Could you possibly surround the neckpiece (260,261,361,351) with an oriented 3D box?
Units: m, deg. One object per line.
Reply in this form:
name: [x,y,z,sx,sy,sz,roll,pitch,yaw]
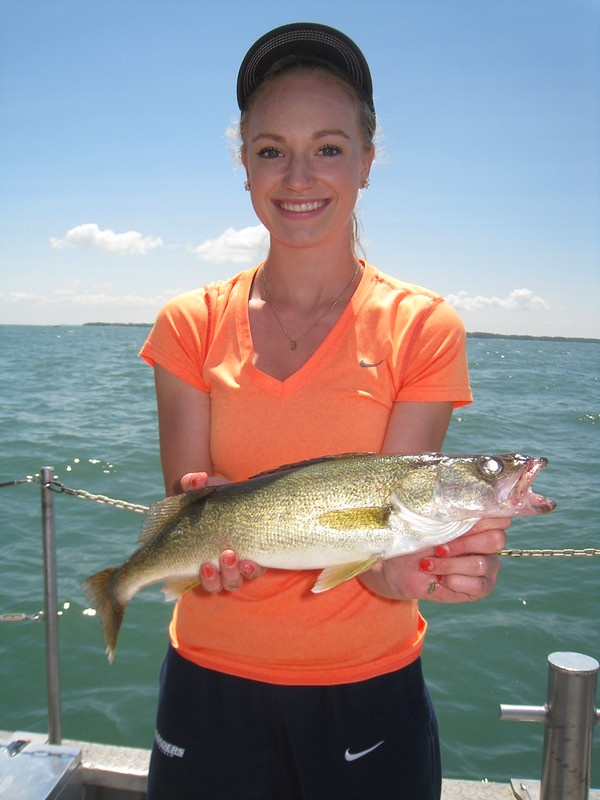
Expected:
neckpiece: [0.011,-0.327,2.782,0.428,0.343,0.095,3,-19,18]
